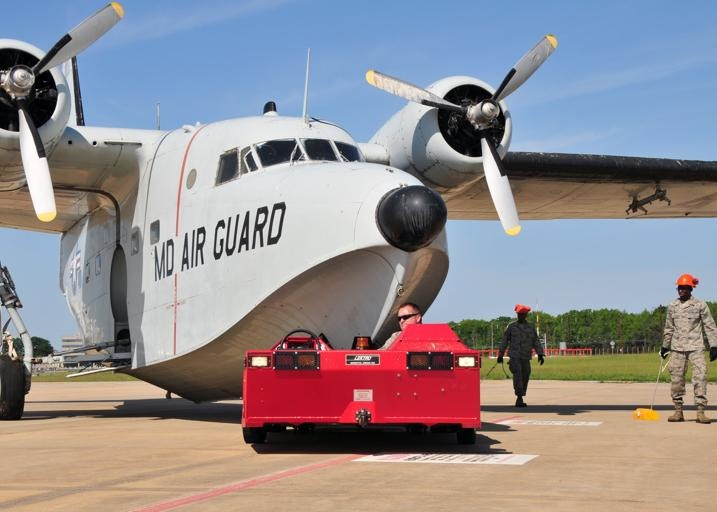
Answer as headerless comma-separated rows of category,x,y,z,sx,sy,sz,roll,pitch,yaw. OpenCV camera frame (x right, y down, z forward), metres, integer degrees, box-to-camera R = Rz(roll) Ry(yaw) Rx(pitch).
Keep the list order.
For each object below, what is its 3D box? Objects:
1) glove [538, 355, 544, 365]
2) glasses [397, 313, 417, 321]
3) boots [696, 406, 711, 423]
glove,3.368,1.916,17.699,0.096,0.108,0.366,5,-16,10
glasses,0.662,0.828,13.150,0.274,0.107,0.088,-3,-8,31
boots,5.405,2.471,14.958,0.207,0.265,0.254,-1,-8,19
